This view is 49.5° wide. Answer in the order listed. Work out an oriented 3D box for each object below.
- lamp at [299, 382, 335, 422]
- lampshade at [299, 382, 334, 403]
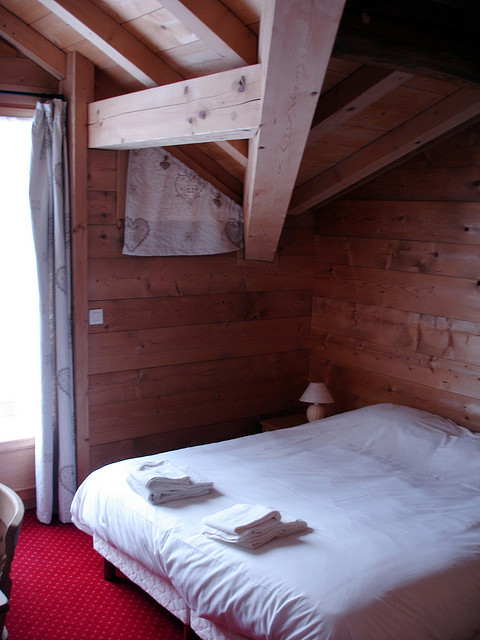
[{"bbox_3d":[0.513,0.565,3.502,0.232,0.278,0.211,3,-6,5],"label":"lamp"},{"bbox_3d":[0.520,0.470,3.463,0.166,0.101,0.155,1,9,-7],"label":"lampshade"}]
